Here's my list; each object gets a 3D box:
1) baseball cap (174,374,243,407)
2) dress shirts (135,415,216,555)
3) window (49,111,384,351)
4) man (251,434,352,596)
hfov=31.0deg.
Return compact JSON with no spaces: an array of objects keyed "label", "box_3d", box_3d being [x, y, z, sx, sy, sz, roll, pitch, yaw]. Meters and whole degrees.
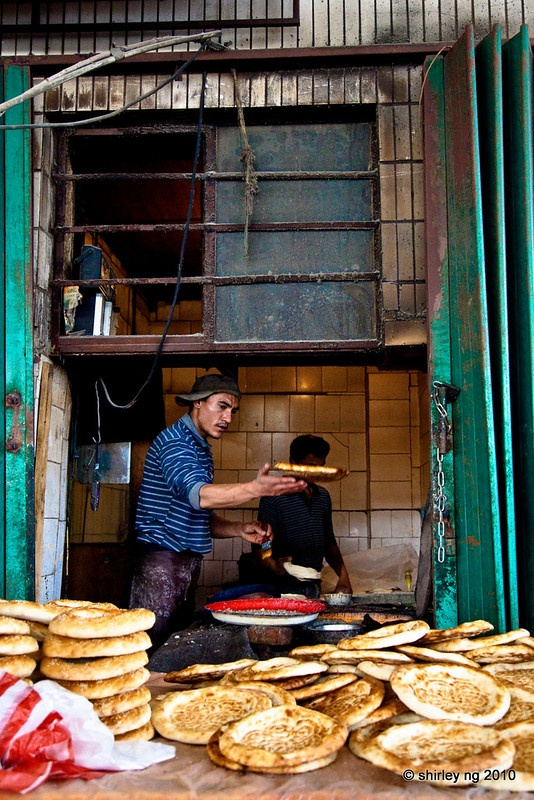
[{"label":"baseball cap","box_3d":[-0.276,-0.051,4.539,0.210,0.125,0.170,1,-16,-5]},{"label":"dress shirts","box_3d":[-0.418,0.385,4.415,0.336,0.592,0.609,3,-24,5]},{"label":"window","box_3d":[-0.241,-0.796,4.706,1.648,1.377,0.119,-2,-20,6]},{"label":"man","box_3d":[0.232,0.946,6.020,0.510,1.452,0.497,-5,6,-29]}]
